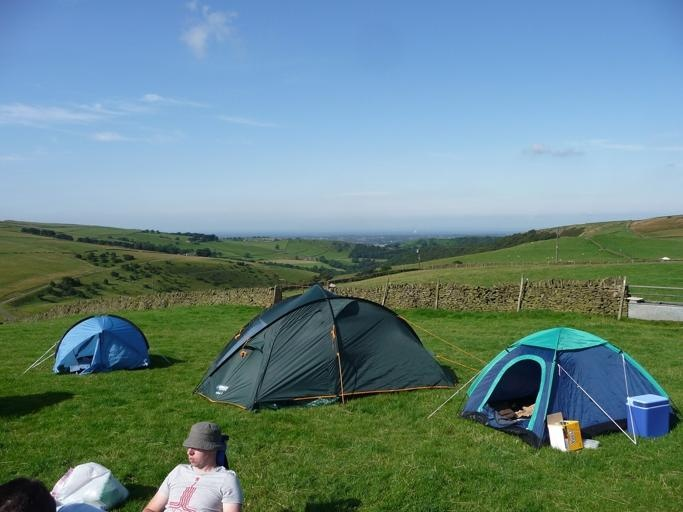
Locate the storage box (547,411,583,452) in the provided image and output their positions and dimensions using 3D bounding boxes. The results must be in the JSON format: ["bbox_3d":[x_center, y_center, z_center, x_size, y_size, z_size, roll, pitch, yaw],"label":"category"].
[{"bbox_3d":[4.825,3.791,9.379,0.618,0.537,0.488,2,-8,-39],"label":"storage box"}]

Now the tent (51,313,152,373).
[{"bbox_3d":[-8.131,2.964,14.722,2.710,1.816,0.930,-1,6,-25],"label":"tent"}]

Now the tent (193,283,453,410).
[{"bbox_3d":[-0.430,2.423,13.035,5.631,1.861,3.924,0,-5,-19],"label":"tent"}]

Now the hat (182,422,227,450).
[{"bbox_3d":[-1.968,2.618,6.350,0.666,0.231,0.508,5,-2,-2],"label":"hat"}]

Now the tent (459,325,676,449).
[{"bbox_3d":[5.589,3.000,10.664,4.098,1.451,3.412,-1,-3,-21],"label":"tent"}]

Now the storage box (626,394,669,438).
[{"bbox_3d":[6.915,3.589,9.812,0.888,0.564,0.599,4,-7,-18],"label":"storage box"}]
